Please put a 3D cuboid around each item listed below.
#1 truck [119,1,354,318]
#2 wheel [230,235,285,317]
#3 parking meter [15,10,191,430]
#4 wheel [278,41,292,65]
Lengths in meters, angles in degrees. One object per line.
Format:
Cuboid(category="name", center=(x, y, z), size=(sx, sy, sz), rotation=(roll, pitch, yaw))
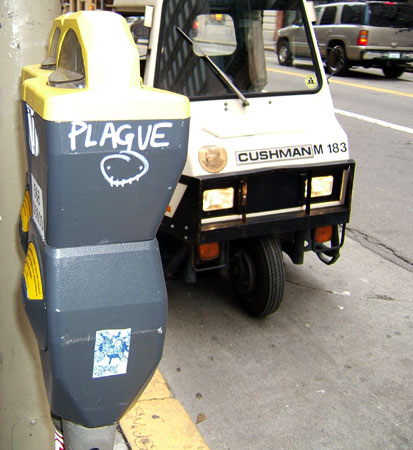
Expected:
Cuboid(category="truck", center=(0.496, -1.105, 4.576), size=(1.794, 2.958, 3.016), rotation=(-8, 20, -25))
Cuboid(category="wheel", center=(0.395, 0.379, 3.602), size=(0.251, 0.782, 0.691), rotation=(-15, 17, -36))
Cuboid(category="parking meter", center=(-0.323, 0.007, 1.137), size=(0.443, 1.092, 0.515), rotation=(-17, 29, -31))
Cuboid(category="wheel", center=(0.666, -1.484, 3.448), size=(0.058, 0.171, 0.169), rotation=(-9, 41, 1))
